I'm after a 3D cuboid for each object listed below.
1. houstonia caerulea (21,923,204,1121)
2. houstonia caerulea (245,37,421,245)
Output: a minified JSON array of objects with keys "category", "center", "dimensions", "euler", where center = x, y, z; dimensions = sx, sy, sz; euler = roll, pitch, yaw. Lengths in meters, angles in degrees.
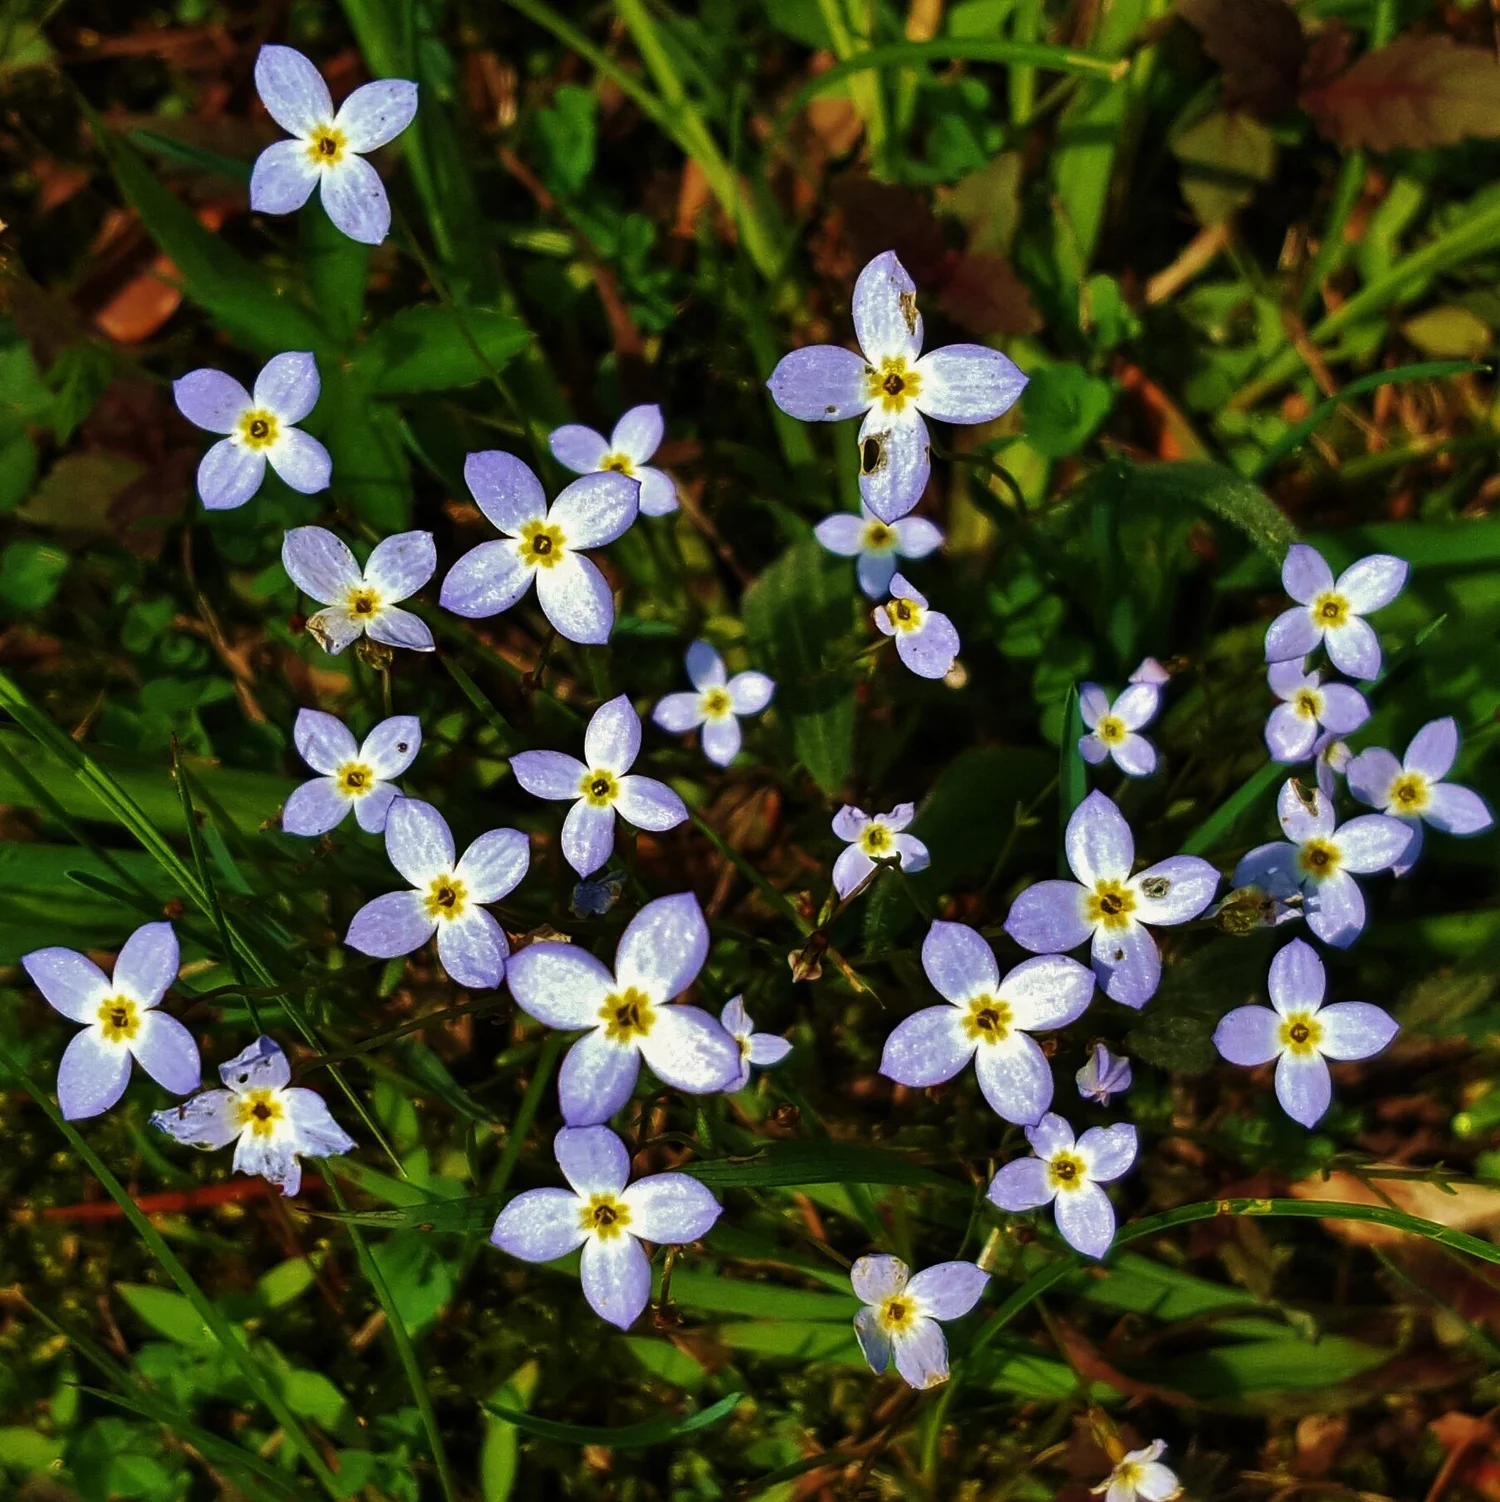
[{"category":"houstonia caerulea","center":[-0.941,0.393,2.599],"dimensions":[0.272,0.180,0.260],"euler":[-14,82,-1]},{"category":"houstonia caerulea","center":[-0.677,-0.963,2.784],"dimensions":[0.327,0.112,0.273],"euler":[20,83,4]}]
